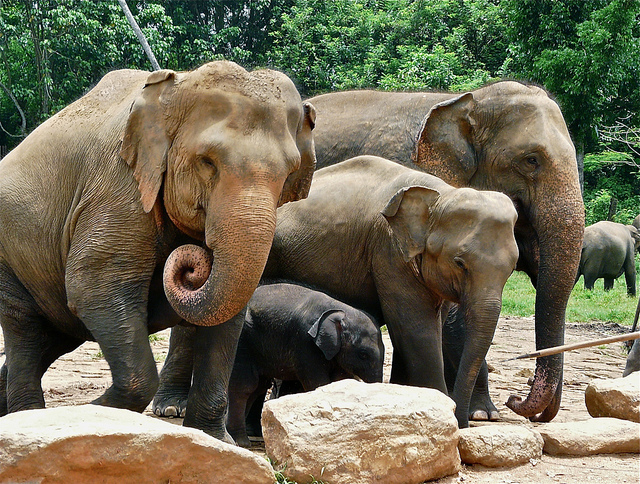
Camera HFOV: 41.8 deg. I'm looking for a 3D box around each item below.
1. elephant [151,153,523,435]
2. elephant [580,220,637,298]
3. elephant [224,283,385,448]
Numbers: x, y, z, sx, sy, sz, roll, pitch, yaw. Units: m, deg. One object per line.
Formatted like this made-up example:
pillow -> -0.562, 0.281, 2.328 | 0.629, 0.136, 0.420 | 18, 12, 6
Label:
elephant -> 0.359, 0.384, 6.196 | 2.567, 1.932, 1.094 | 2, 2, 35
elephant -> 5.156, 0.325, 14.968 | 0.976, 1.043, 1.211 | 5, 21, 16
elephant -> -0.146, 0.956, 6.120 | 1.256, 1.185, 0.535 | 6, 5, 0
